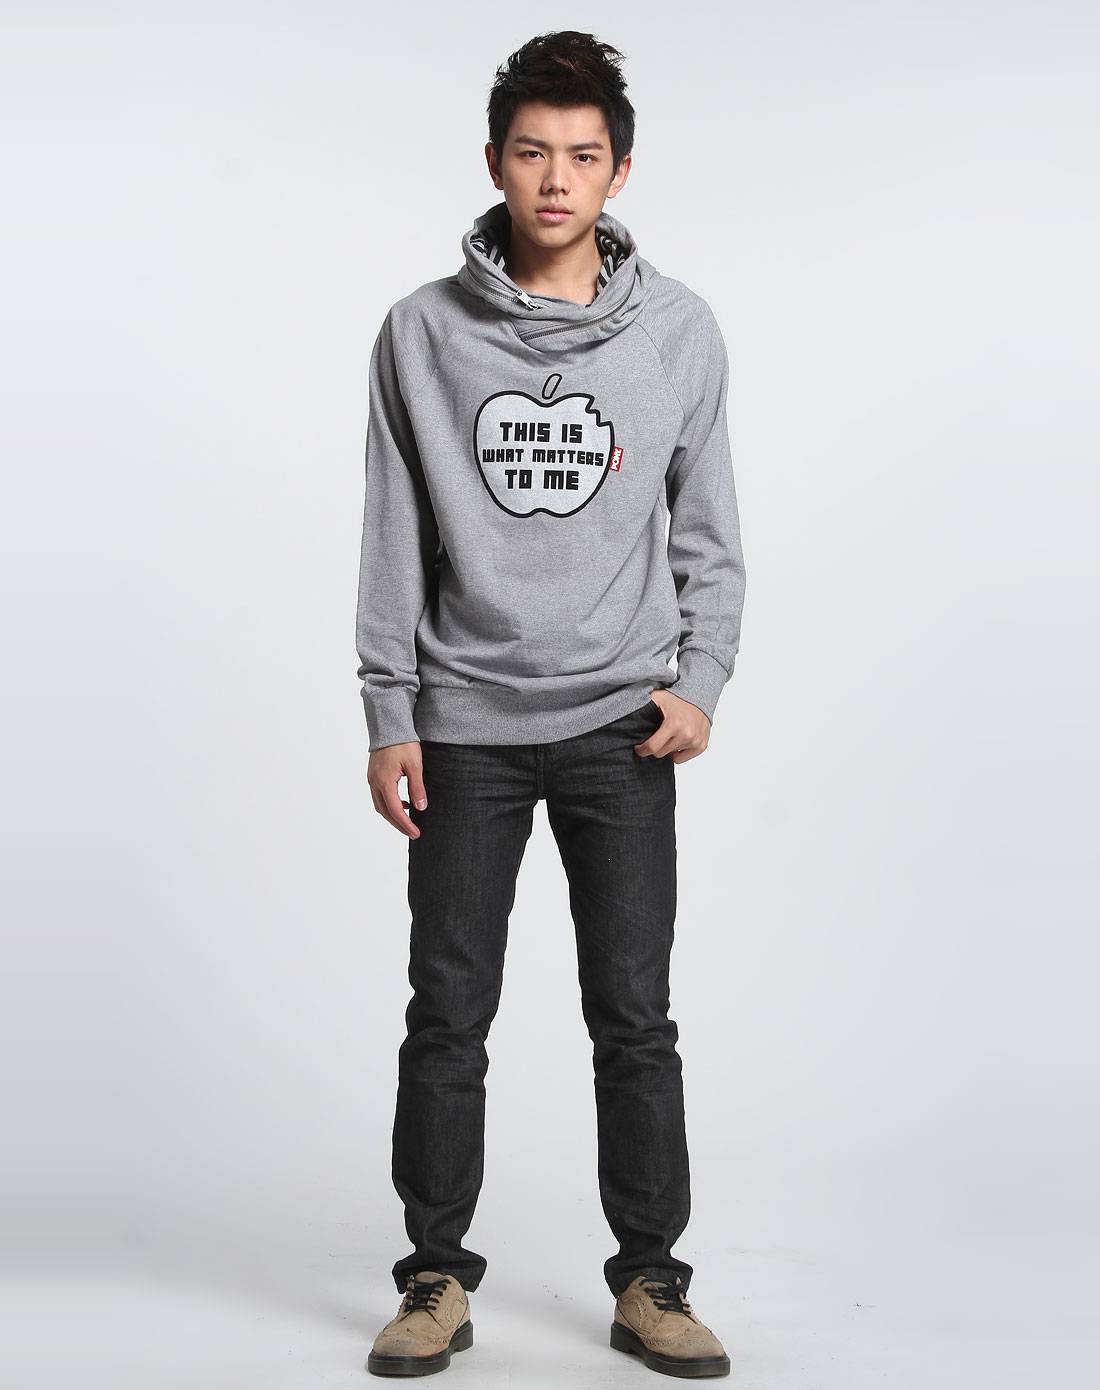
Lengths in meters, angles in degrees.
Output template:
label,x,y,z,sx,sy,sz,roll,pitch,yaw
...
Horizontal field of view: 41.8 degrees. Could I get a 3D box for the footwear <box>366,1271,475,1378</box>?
label,x,y,z,sx,sy,sz,roll,pitch,yaw
footwear,-0.185,0.885,2.051,0.114,0.111,0.257,-4,-13,15

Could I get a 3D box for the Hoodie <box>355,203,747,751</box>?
label,x,y,z,sx,sy,sz,roll,pitch,yaw
Hoodie,-0.017,-0.317,2.049,0.560,0.761,0.304,-2,13,6

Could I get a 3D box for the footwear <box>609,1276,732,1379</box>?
label,x,y,z,sx,sy,sz,roll,pitch,yaw
footwear,0.160,0.891,2.049,0.086,0.083,0.196,3,-4,-28
